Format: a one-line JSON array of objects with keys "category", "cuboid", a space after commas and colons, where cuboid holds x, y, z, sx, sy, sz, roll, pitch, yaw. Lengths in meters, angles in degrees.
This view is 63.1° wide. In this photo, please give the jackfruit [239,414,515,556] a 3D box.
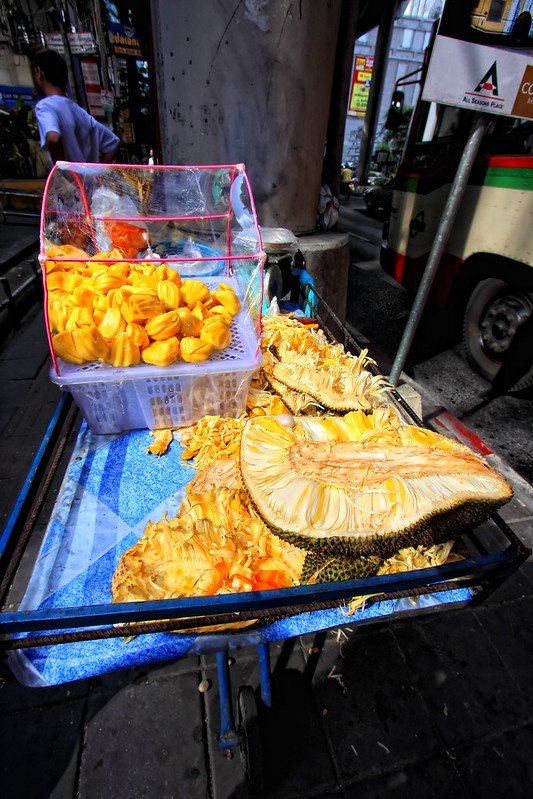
[{"category": "jackfruit", "cuboid": [0.268, 0.227, 1.200, 0.707, 0.237, 0.489, 6, 36, 3]}]

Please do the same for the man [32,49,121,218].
[{"category": "man", "cuboid": [-1.612, -2.379, 3.618, 0.628, 0.835, 1.165, -7, 37, -15]}]

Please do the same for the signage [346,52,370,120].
[{"category": "signage", "cuboid": [5.619, -17.174, 23.950, 1.862, 3.330, 0.328, 6, 2, 0]}]

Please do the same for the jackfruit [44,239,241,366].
[{"category": "jackfruit", "cuboid": [-0.434, -0.279, 1.648, 0.599, 0.188, 0.581, -7, 50, -14]}]

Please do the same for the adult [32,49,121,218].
[{"category": "adult", "cuboid": [-1.612, -2.378, 3.617, 0.627, 0.835, 1.161, -8, 37, -15]}]
